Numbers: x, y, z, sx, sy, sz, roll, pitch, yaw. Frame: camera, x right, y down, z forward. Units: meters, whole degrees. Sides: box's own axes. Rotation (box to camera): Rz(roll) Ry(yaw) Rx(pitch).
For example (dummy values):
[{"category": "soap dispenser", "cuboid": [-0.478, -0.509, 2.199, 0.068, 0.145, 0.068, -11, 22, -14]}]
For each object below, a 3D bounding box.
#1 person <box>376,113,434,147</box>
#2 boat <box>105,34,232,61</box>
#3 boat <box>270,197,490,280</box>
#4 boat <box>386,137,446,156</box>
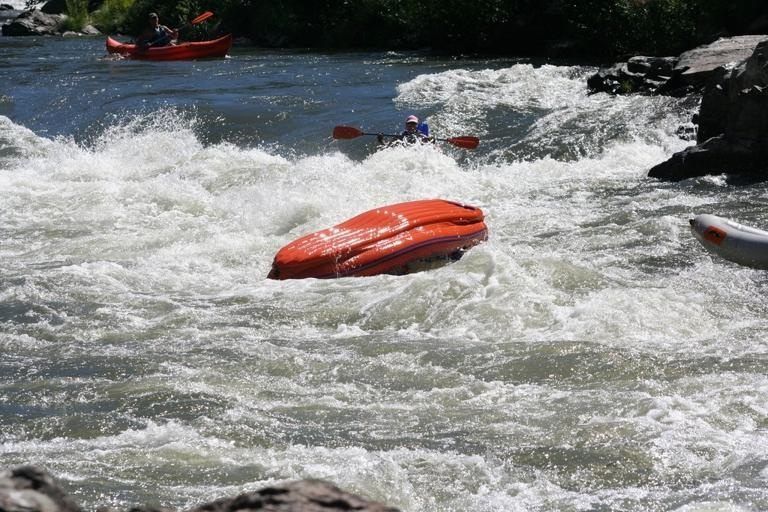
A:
[{"category": "person", "cuboid": [0.489, -2.714, 31.096, 1.082, 0.539, 1.915, -12, 11, -22]}, {"category": "boat", "cuboid": [-5.972, -5.822, 40.640, 4.041, 0.738, 1.172, -5, 16, -14]}, {"category": "boat", "cuboid": [0.031, -0.283, 26.410, 3.475, 0.588, 1.532, -13, 19, -15]}, {"category": "boat", "cuboid": [0.542, -2.336, 29.923, 0.985, 0.218, 0.526, -4, 5, 9]}]
